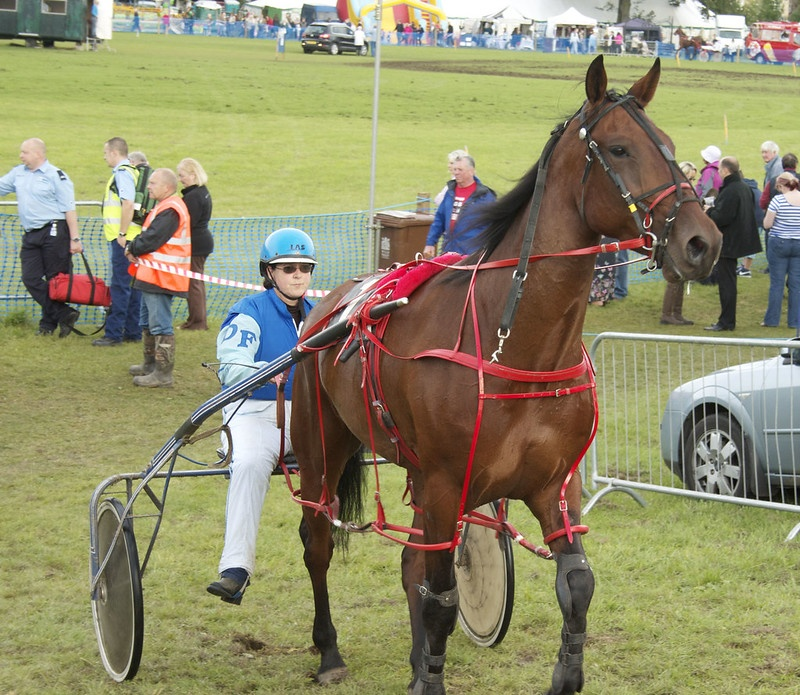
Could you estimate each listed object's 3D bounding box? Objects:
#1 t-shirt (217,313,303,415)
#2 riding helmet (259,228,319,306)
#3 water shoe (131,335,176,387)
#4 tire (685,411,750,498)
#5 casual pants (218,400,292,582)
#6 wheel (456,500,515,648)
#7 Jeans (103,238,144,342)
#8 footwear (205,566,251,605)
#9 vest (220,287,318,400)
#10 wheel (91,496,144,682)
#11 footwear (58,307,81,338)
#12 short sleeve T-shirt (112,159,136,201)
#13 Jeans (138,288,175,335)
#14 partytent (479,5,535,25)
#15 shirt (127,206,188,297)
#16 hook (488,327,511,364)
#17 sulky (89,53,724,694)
[{"bbox_3d":[-0.959,0.092,8.020,0.449,0.526,0.220,6,7,1],"label":"t-shirt"},{"bbox_3d":[-0.803,-0.527,8.283,0.377,0.452,0.435,-1,6,-21],"label":"riding helmet"},{"bbox_3d":[-2.189,0.121,11.919,0.386,0.467,0.218,2,5,-21],"label":"water shoe"},{"bbox_3d":[2.323,0.849,9.516,0.251,0.684,0.729,0,-5,-23],"label":"tire"},{"bbox_3d":[-0.879,0.814,8.077,0.294,1.155,0.358,17,-24,-39],"label":"casual pants"},{"bbox_3d":[0.465,1.331,8.192,0.105,0.946,1.008,-2,2,-20],"label":"wheel"},{"bbox_3d":[-2.619,-0.507,12.790,0.356,1.221,0.519,-9,31,-16],"label":"Jeans"},{"bbox_3d":[-0.987,1.366,7.725,0.129,0.150,0.327,13,-14,17],"label":"footwear"},{"bbox_3d":[-0.778,0.006,8.080,0.308,0.518,0.608,30,25,31],"label":"vest"},{"bbox_3d":[-1.677,1.450,7.936,0.133,1.036,1.096,-1,-2,-25],"label":"wheel"},{"bbox_3d":[-3.274,-0.239,13.308,0.131,0.357,0.168,19,16,8],"label":"footwear"},{"bbox_3d":[-2.511,-1.497,12.269,0.238,0.374,0.408,3,3,2],"label":"short sleeve T-shirt"},{"bbox_3d":[-2.163,-0.320,11.880,0.159,0.409,0.393,11,7,10],"label":"Jeans"},{"bbox_3d":[4.853,-15.017,61.318,1.616,0.651,1.514,-3,22,-20],"label":"partytent"},{"bbox_3d":[-2.105,-0.823,11.770,0.540,0.804,0.701,6,12,1],"label":"shirt"},{"bbox_3d":[0.516,0.001,6.939,0.077,0.198,0.031,14,6,26],"label":"hook"},{"bbox_3d":[0.125,0.180,7.572,3.149,3.527,1.468,3,12,9],"label":"sulky"}]
